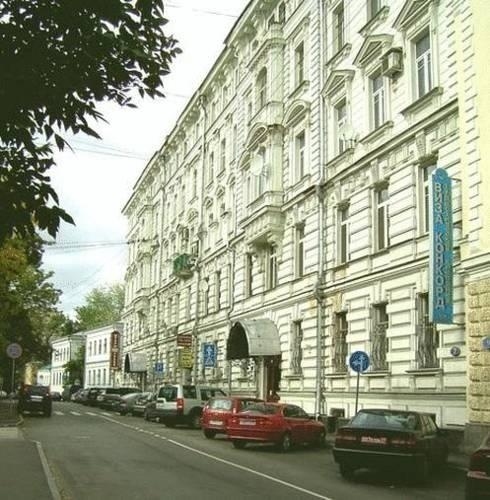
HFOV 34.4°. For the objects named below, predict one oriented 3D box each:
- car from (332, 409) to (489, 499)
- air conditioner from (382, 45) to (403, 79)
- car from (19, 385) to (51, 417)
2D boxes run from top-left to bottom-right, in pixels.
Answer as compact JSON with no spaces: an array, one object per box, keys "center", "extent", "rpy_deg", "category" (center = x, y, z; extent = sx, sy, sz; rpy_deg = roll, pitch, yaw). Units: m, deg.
[{"center":[2.922,3.712,15.145],"extent":[2.195,1.478,1.552],"rpy_deg":[13,-22,-32],"category":"car"},{"center":[4.239,-5.364,22.778],"extent":[0.416,0.914,0.882],"rpy_deg":[9,-16,-12],"category":"air conditioner"},{"center":[-9.361,6.606,34.995],"extent":[0.906,0.977,1.712],"rpy_deg":[3,-6,-23],"category":"car"}]
